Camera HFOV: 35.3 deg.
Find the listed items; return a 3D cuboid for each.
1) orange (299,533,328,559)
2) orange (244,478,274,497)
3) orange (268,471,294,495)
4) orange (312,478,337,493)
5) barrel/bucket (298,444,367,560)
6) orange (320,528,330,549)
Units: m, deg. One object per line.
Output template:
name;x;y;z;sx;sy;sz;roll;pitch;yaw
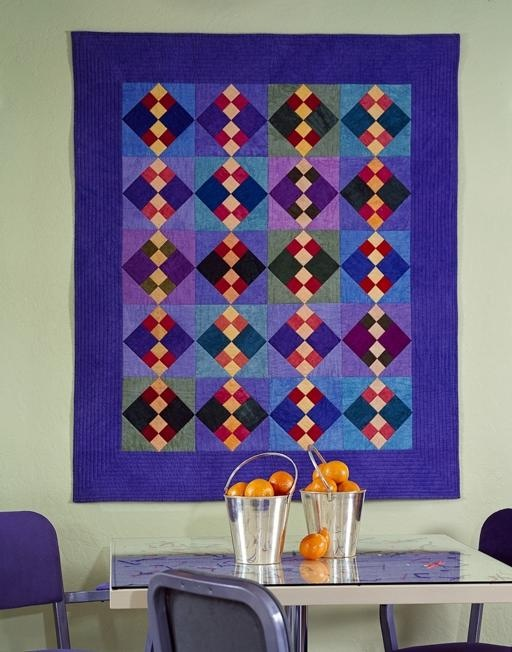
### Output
orange;0.138;0.523;1.906;0.042;0.049;0.039;31;-43;7
orange;0.011;0.382;1.919;0.050;0.046;0.044;1;-9;-4
orange;0.058;0.385;1.969;0.054;0.060;0.052;0;-20;-6
orange;0.164;0.386;1.945;0.045;0.022;0.044;2;-7;-6
barrel/bucket;0.190;0.449;2.111;0.217;0.345;0.251;-2;-4;1
orange;0.168;0.503;1.918;0.020;0.036;0.030;-7;-19;9
